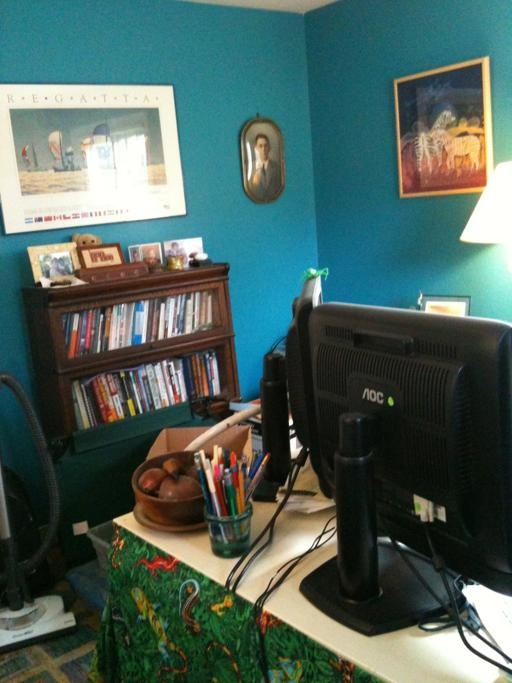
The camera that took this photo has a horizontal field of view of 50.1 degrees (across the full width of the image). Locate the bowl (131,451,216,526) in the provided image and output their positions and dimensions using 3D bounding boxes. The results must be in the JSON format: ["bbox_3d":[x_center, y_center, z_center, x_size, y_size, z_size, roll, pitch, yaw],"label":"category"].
[{"bbox_3d":[-0.175,0.327,1.227,0.182,0.100,0.193,-2,19,1],"label":"bowl"}]

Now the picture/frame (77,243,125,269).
[{"bbox_3d":[-0.784,-0.436,2.796,0.226,0.115,0.170,-14,16,-22],"label":"picture/frame"}]

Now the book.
[{"bbox_3d":[-0.620,0.082,2.830,0.677,0.591,0.225,-13,10,-42],"label":"book"}]

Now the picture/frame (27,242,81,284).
[{"bbox_3d":[-0.986,-0.384,2.693,0.190,0.170,0.014,-16,7,-37],"label":"picture/frame"}]

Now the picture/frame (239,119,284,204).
[{"bbox_3d":[0.019,-1.198,3.618,0.467,0.674,0.052,-15,19,-41],"label":"picture/frame"}]

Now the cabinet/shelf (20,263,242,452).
[{"bbox_3d":[-0.601,0.044,2.984,0.942,0.821,0.340,-11,12,-23],"label":"cabinet/shelf"}]

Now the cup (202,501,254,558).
[{"bbox_3d":[-0.052,0.367,1.071,0.083,0.089,0.086,-3,-2,0],"label":"cup"}]

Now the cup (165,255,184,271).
[{"bbox_3d":[-0.450,-0.426,3.036,0.106,0.082,0.109,0,4,0],"label":"cup"}]

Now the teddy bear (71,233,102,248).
[{"bbox_3d":[-0.875,-0.524,2.846,0.150,0.103,0.085,-14,10,-39],"label":"teddy bear"}]

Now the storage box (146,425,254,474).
[{"bbox_3d":[-0.190,0.318,1.803,0.269,0.102,0.218,-8,6,9],"label":"storage box"}]
